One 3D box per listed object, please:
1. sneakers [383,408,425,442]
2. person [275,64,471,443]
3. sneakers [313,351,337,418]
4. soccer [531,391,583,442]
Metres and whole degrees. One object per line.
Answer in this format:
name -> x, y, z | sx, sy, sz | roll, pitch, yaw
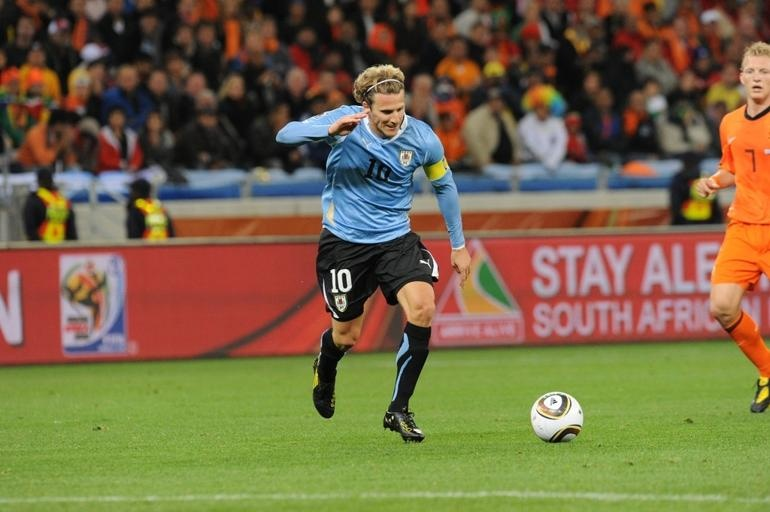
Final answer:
sneakers -> 0.181, 1.482, 10.832 | 0.462, 0.252, 0.181 | 14, 9, 35
person -> -0.067, -0.028, 10.882 | 1.451, 3.266, 0.761 | 0, 8, 3
sneakers -> -0.567, 1.187, 11.325 | 0.194, 0.561, 0.249 | -6, 14, -21
soccer -> 1.541, 1.424, 10.747 | 0.428, 0.419, 0.419 | 28, -16, -32
